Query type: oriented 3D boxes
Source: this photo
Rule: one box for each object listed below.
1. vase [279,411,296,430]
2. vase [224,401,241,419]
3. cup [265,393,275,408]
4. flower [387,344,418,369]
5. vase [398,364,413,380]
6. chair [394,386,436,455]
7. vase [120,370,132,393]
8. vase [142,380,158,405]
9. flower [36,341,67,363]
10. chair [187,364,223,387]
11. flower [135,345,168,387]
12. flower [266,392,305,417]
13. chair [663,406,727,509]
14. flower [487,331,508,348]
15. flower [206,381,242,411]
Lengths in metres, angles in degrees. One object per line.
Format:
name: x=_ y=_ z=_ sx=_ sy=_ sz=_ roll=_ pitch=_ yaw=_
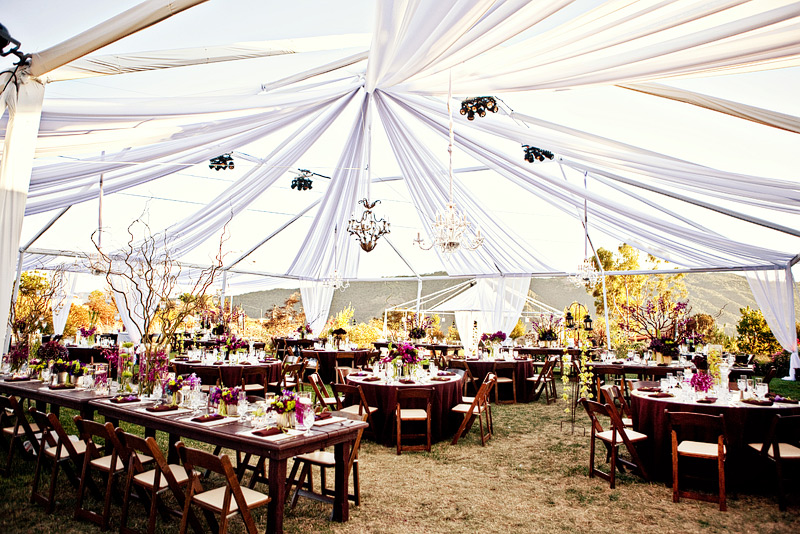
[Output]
vase: x=-1.285 y=1.740 z=6.370 sx=0.169 sy=0.187 sz=0.164 roll=1 pitch=1 yaw=43
vase: x=-2.006 y=1.711 z=6.694 sx=0.161 sy=0.159 sz=0.164 roll=2 pitch=-1 yaw=0
cup: x=-1.488 y=1.544 z=6.418 sx=0.135 sy=0.209 sz=0.136 roll=-1 pitch=-16 yaw=0
flower: x=0.064 y=1.511 z=9.630 sx=0.369 sy=0.411 sz=0.399 roll=2 pitch=5 yaw=-12
vase: x=0.104 y=1.782 z=9.509 sx=0.221 sy=0.352 sz=0.231 roll=8 pitch=-12 yaw=-34
chair: x=0.222 y=2.463 z=9.030 sx=0.788 sy=1.322 sz=0.938 roll=-1 pitch=6 yaw=-2
vase: x=-3.691 y=1.542 z=7.537 sx=0.162 sy=0.303 sz=0.147 roll=4 pitch=-8 yaw=-25
vase: x=-3.183 y=1.628 z=7.286 sx=0.265 sy=0.301 sz=0.263 roll=10 pitch=-16 yaw=-37
flower: x=-5.156 y=1.259 z=8.329 sx=0.573 sy=0.308 sz=0.305 roll=-4 pitch=-9 yaw=30
chair: x=-3.914 y=2.149 z=11.105 sx=0.610 sy=0.395 sz=0.897 roll=4 pitch=-9 yaw=-21
flower: x=-3.258 y=1.315 z=7.277 sx=0.249 sy=0.591 sz=0.723 roll=7 pitch=-10 yaw=-42
flower: x=-1.285 y=1.558 z=6.375 sx=0.459 sy=0.258 sz=0.121 roll=-1 pitch=-7 yaw=14
chair: x=3.818 y=2.456 z=7.194 sx=0.691 sy=1.192 sz=0.888 roll=-3 pitch=-9 yaw=30
flower: x=2.393 y=1.729 z=13.552 sx=0.407 sy=0.397 sz=0.415 roll=-1 pitch=-1 yaw=-1
flower: x=-2.143 y=1.557 z=6.786 sx=0.323 sy=0.333 sz=0.319 roll=4 pitch=-4 yaw=-35
